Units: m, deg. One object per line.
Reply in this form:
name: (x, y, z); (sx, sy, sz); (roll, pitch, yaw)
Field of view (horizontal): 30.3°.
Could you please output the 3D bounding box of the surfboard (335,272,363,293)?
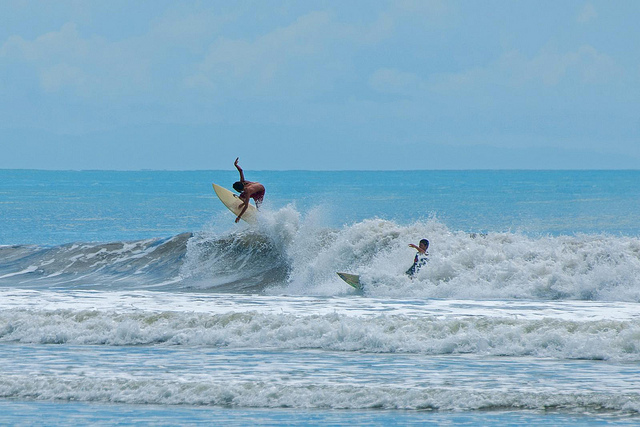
surfboard: (0.910, 1.790, 31.917); (0.133, 0.265, 1.186); (-6, 22, -39)
